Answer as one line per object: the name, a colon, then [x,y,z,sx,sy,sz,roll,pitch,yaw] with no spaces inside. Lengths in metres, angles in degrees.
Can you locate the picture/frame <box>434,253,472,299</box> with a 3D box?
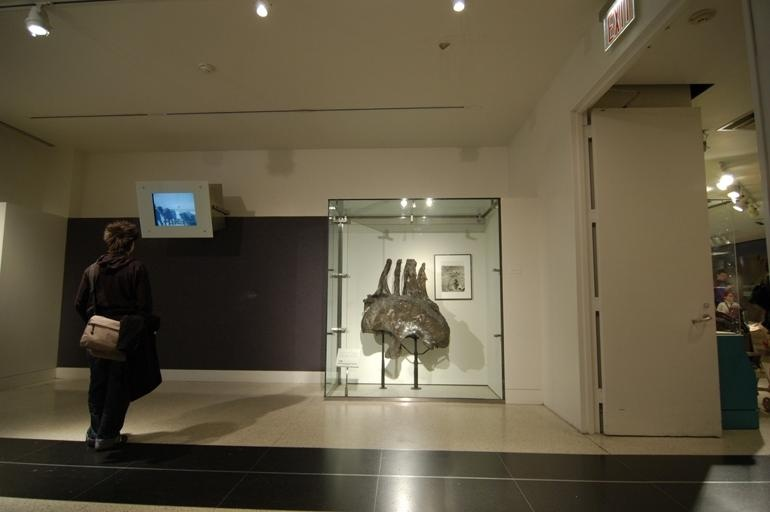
picture/frame: [0.980,0.264,7.659,0.614,0.778,0.029,0,-3,0]

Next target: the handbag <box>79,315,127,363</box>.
handbag: [-3.075,0.910,6.007,0.424,0.484,0.209,1,12,4]

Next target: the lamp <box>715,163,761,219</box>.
lamp: [5.867,-1.057,8.997,0.475,1.005,2.154,10,16,39]
